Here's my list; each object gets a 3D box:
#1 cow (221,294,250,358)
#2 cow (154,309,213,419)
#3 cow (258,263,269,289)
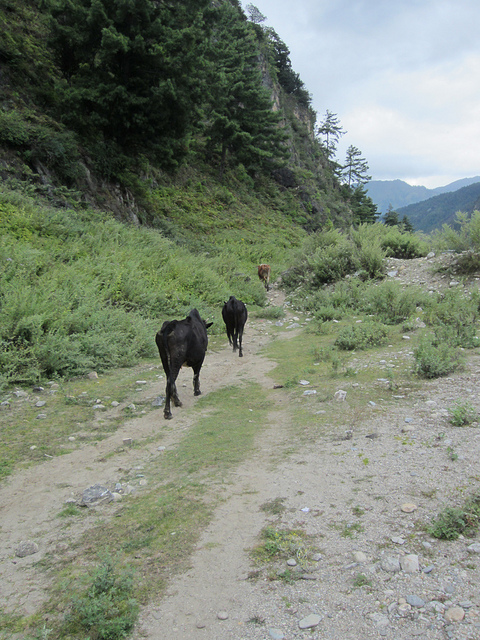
[{"bbox_3d":[-0.091,0.091,10.778,0.549,1.247,1.300,-7,13,-2],"label":"cow"},{"bbox_3d":[-0.878,0.589,7.434,0.715,1.374,1.877,-7,13,-3],"label":"cow"},{"bbox_3d":[1.009,-1.883,20.249,0.375,0.941,0.527,-6,13,2],"label":"cow"}]
